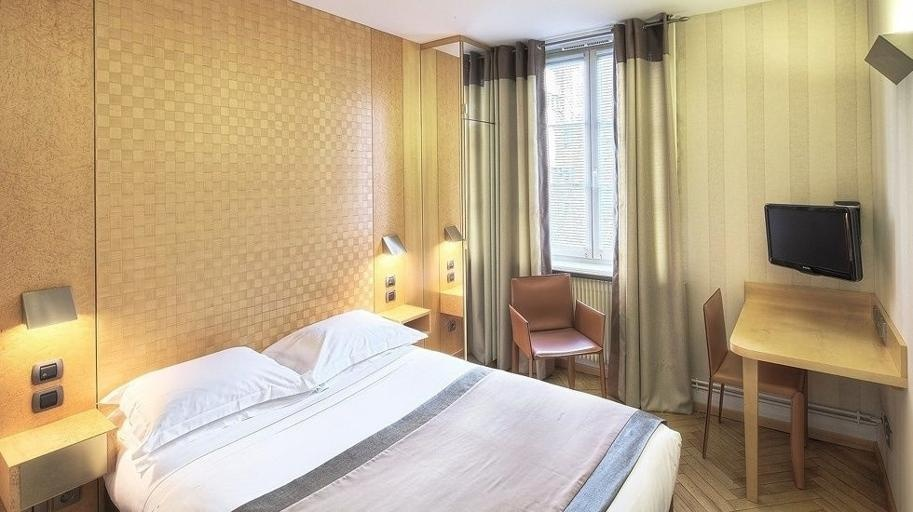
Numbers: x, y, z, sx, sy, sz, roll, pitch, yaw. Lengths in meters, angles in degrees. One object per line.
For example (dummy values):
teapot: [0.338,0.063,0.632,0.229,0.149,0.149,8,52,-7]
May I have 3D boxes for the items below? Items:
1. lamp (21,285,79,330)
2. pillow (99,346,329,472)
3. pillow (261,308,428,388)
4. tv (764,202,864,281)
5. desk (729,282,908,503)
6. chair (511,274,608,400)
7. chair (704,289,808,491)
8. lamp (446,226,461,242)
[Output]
lamp: [-3.021,0.379,4.301,0.330,0.282,0.173,-6,-7,-39]
pillow: [-1.885,1.044,4.443,0.998,0.215,0.957,-21,24,-22]
pillow: [-0.857,0.725,5.443,1.038,0.296,1.138,-17,10,-8]
tv: [3.055,-0.143,5.023,0.199,0.647,0.778,-14,15,-21]
desk: [2.975,1.131,4.932,1.189,1.583,1.159,2,13,24]
chair: [0.989,0.789,5.781,0.921,0.963,0.890,0,14,4]
chair: [2.744,1.136,5.224,1.002,1.370,0.912,5,15,33]
lamp: [-0.035,-0.246,6.250,0.172,0.164,0.139,-4,11,-32]
